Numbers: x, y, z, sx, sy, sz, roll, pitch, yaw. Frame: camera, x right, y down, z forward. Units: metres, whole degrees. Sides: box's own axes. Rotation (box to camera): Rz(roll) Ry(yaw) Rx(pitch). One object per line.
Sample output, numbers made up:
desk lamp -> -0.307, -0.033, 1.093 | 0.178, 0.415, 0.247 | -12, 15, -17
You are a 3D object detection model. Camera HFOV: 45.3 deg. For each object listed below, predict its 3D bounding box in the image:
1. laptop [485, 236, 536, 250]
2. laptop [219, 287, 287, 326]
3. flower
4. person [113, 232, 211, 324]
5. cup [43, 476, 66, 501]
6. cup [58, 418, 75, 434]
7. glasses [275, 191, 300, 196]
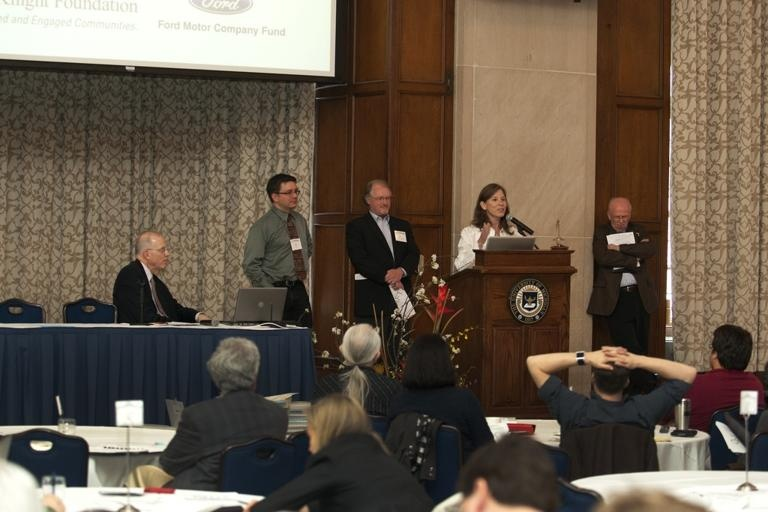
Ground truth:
laptop -> 1.118, -0.096, 8.210 | 0.453, 0.124, 0.172 | -1, 1, -5
laptop -> -1.085, 0.451, 8.004 | 0.352, 0.234, 0.329 | 2, -1, -26
flower -> 0.354, 0.684, 8.997 | 0.992, 1.467, 1.537 | -6, -16, 25
person -> -2.000, 0.331, 8.384 | 0.937, 1.022, 0.806 | 1, 9, -24
cup -> -1.722, 1.225, 4.795 | 0.097, 0.161, 0.216 | -1, 1, -18
cup -> -2.118, 1.152, 6.161 | 0.114, 0.106, 0.118 | 1, 1, 0
glasses -> -0.975, -0.615, 9.174 | 0.197, 0.055, 0.089 | -1, 1, -28
